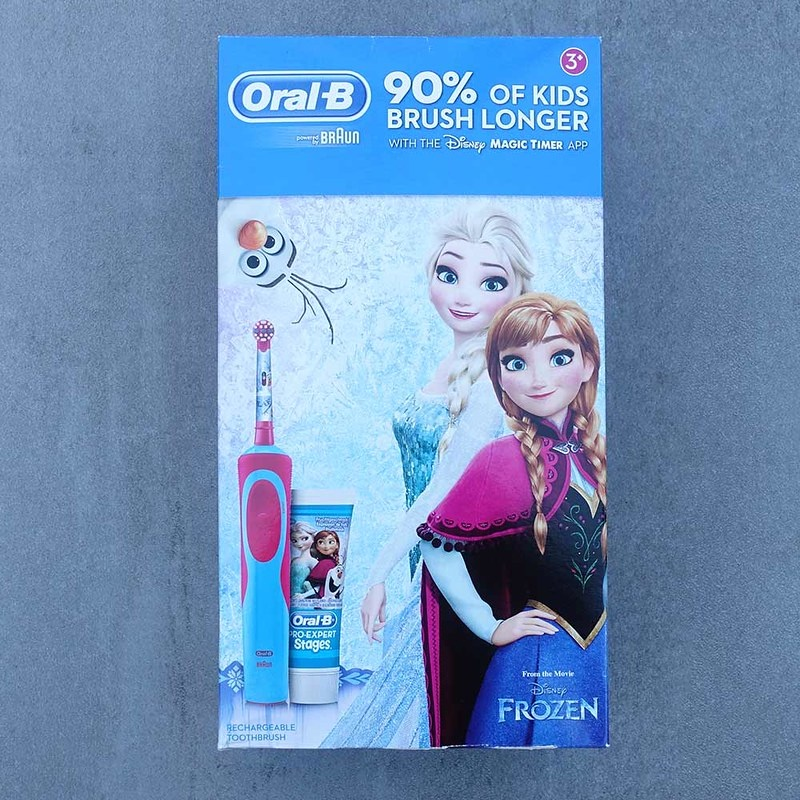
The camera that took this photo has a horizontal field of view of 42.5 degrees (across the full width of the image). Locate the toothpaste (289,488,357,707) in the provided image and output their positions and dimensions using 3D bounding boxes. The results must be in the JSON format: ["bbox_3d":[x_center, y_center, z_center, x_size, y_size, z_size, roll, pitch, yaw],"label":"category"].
[{"bbox_3d":[-0.109,0.277,1.440,0.085,0.286,0.066,0,12,-1],"label":"toothpaste"}]
